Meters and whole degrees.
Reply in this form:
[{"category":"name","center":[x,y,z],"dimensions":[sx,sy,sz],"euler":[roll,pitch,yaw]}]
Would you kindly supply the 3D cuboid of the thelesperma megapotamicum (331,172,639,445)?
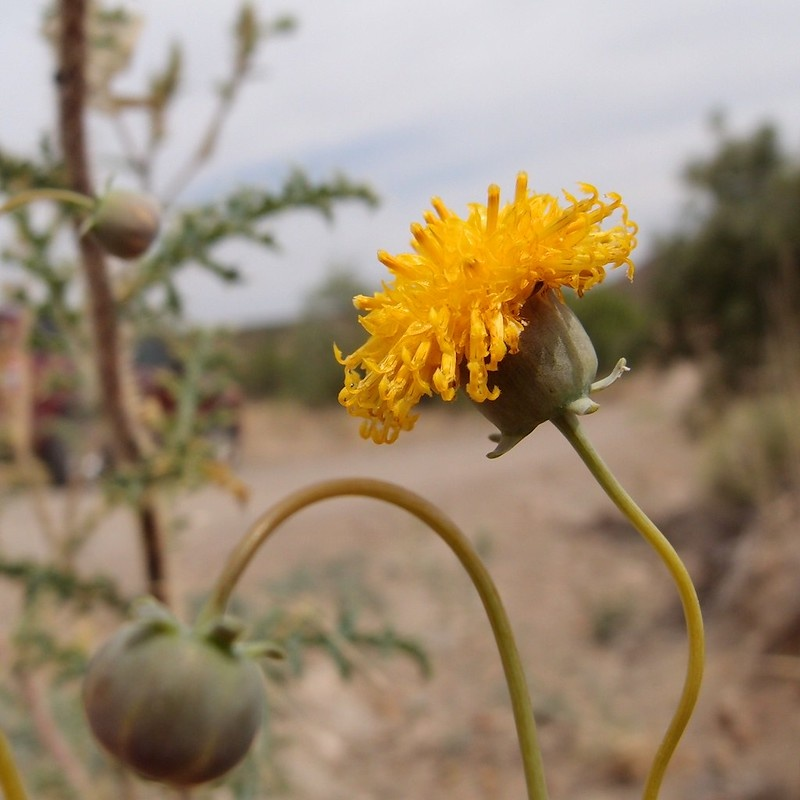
[{"category":"thelesperma megapotamicum","center":[0.051,-0.065,0.835],"dimensions":[0.205,0.155,0.094],"euler":[-18,28,-25]}]
